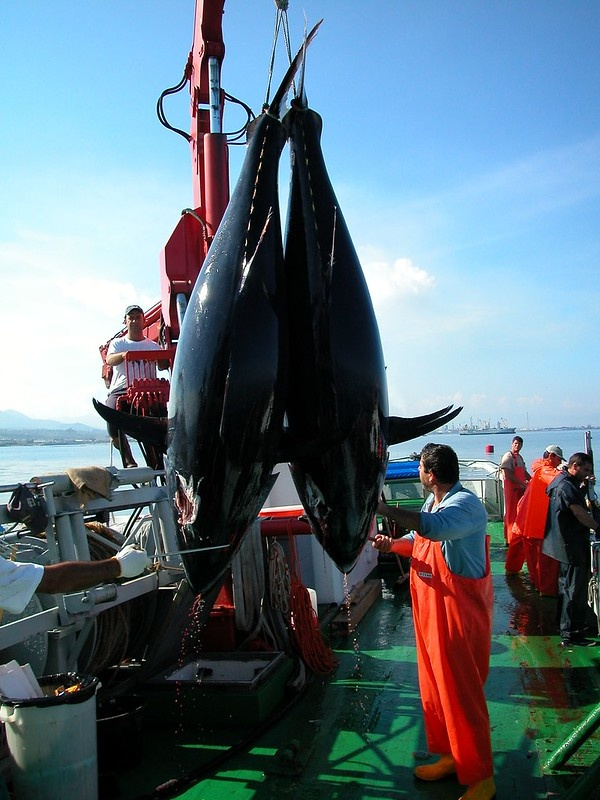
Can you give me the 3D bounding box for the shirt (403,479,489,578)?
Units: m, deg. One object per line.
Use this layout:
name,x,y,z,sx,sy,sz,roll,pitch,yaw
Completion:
shirt,0.659,0.649,2.411,0.399,0.579,0.471,2,-8,5

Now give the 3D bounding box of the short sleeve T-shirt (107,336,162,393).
short sleeve T-shirt,-1.533,-0.323,4.724,0.463,0.526,0.273,0,-32,-5

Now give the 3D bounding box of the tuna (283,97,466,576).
tuna,0.098,-0.242,1.422,0.285,1.451,0.403,-2,-8,3

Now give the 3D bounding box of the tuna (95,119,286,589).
tuna,-0.159,-0.223,1.502,0.414,1.377,0.496,-2,-17,35

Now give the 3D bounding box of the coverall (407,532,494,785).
coverall,0.697,1.155,2.363,0.307,1.030,0.405,3,-9,-26

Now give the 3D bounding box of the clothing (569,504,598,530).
clothing,2.512,1.022,4.507,0.079,0.255,0.186,-41,-20,11
